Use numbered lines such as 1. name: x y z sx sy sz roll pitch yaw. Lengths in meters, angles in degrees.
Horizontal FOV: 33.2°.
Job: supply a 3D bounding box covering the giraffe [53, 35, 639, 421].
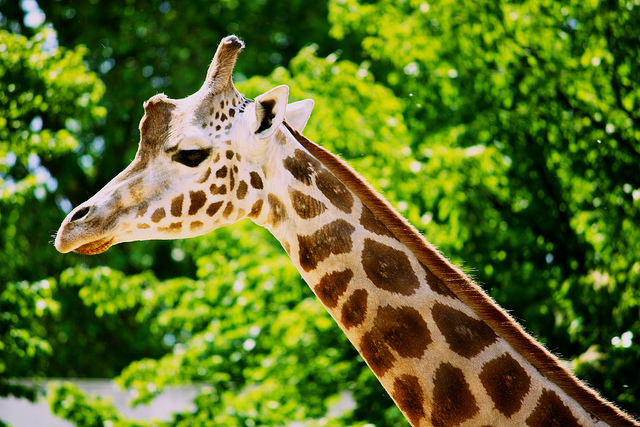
1. giraffe: 0.624 0.269 14.423 7.928 4.601 2.130 27 21 11
